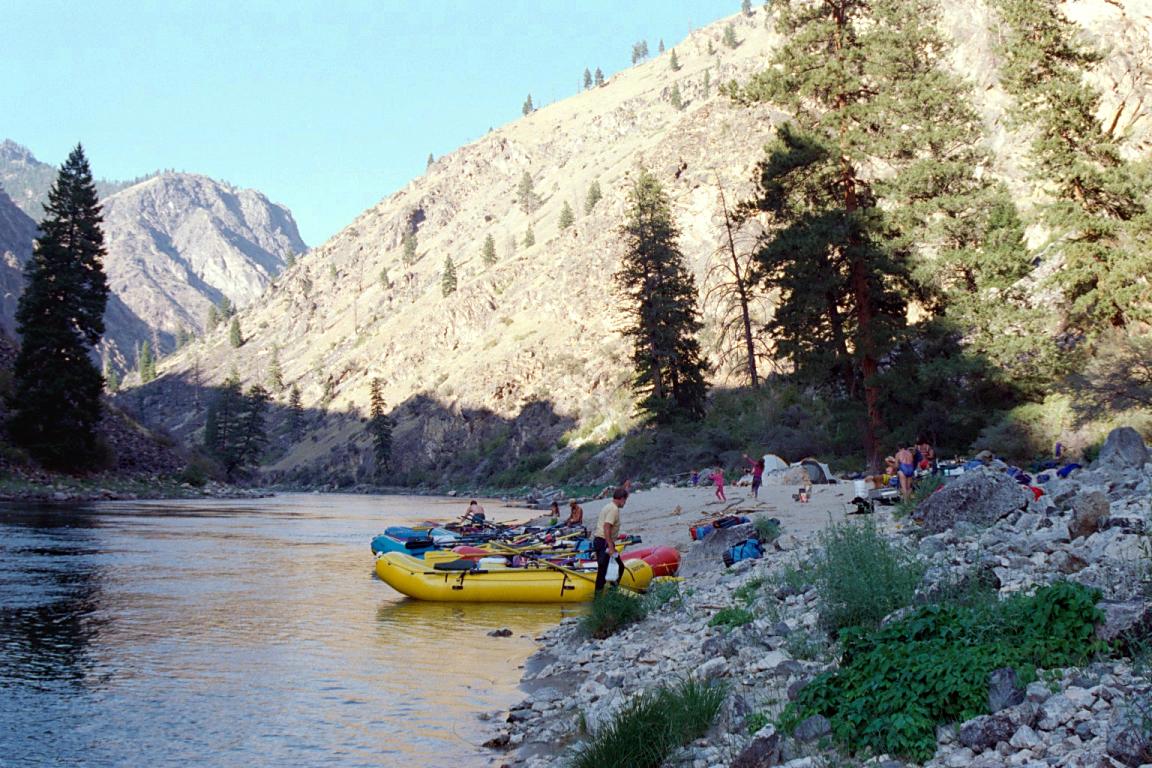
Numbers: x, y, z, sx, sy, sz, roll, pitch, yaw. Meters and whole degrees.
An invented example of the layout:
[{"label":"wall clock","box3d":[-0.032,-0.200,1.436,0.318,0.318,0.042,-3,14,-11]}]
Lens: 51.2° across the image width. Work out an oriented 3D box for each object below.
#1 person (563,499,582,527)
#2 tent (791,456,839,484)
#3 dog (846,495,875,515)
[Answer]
[{"label":"person","box3d":[-0.158,5.732,53.875,0.568,1.043,1.115,2,14,14]},{"label":"tent","box3d":[11.359,4.142,56.904,1.381,0.683,1.707,-2,-17,17]},{"label":"dog","box3d":[10.666,4.583,44.907,0.618,0.942,1.903,-3,4,4]}]
